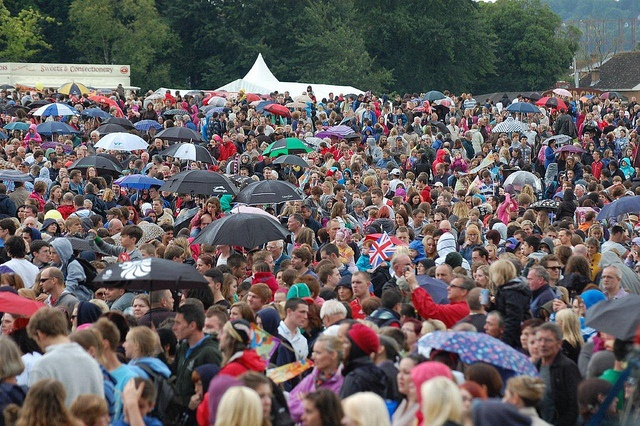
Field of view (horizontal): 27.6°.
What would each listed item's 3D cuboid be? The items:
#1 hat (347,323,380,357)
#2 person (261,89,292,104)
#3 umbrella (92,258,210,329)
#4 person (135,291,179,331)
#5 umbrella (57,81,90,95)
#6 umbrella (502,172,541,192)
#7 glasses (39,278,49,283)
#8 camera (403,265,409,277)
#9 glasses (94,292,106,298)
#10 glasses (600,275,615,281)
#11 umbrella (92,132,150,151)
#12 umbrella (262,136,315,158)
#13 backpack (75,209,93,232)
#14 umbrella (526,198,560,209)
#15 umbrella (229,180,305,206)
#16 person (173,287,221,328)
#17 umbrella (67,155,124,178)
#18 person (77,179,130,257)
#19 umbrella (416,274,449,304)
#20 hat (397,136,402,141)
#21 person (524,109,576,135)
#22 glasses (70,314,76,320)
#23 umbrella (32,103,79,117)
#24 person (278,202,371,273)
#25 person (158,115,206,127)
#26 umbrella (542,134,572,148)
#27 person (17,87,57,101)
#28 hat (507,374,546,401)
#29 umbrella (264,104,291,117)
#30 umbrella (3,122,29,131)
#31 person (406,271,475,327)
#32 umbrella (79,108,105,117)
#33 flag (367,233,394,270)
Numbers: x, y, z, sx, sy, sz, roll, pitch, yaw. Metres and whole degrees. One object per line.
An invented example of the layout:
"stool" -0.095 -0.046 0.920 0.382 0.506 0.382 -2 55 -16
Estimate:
"hat" 1.142 3.161 33.108 0.817 0.623 0.623 36 23 23
"person" -1.640 -4.729 53.999 0.980 0.453 0.955 1 1 -20
"umbrella" -4.433 2.306 34.200 2.193 1.308 2.208 -3 4 -33
"person" -4.437 2.552 34.787 1.169 0.838 0.904 -7 -5 29
"umbrella" -10.391 -5.153 54.929 1.303 0.470 1.611 -1 9 -11
"umbrella" 6.691 -0.972 43.083 1.065 0.708 1.552 4 10 20
"glasses" -7.427 1.817 35.077 0.241 0.134 0.060 5 10 26
"camera" 2.367 1.559 35.589 0.164 0.216 0.078 9 -5 21
"glasses" -6.037 2.246 35.638 0.198 0.239 0.192 0 -5 -20
"glasses" 7.780 1.769 35.250 0.179 0.150 0.409 -6 12 -38
"umbrella" -6.743 -2.339 43.895 0.951 0.358 0.958 4 11 32
"umbrella" -1.116 -2.196 44.663 1.623 0.693 1.056 1 9 0
"backpack" -6.988 0.264 38.430 0.604 0.738 0.416 -4 -5 -19
"umbrella" 7.155 -0.197 40.996 1.021 0.321 0.758 0 9 -8
"umbrella" -1.559 -0.587 39.396 1.927 0.687 0.729 0 9 -4
"person" -3.331 2.455 35.028 1.095 1.013 0.849 -1 -12 1
"umbrella" -7.274 -1.461 42.554 1.875 0.756 0.846 -6 12 -39
"person" -6.496 0.243 38.905 1.887 1.308 1.196 23 45 16
"umbrella" 3.080 2.110 35.433 0.740 0.329 0.718 12 42 -32
"hat" 2.898 -2.633 47.014 0.184 0.142 0.242 5 11 2
"person" 8.897 -3.428 50.371 1.044 1.017 0.852 -5 16 -34
"glasses" -6.541 2.764 34.465 0.170 0.052 0.159 10 -13 -19
"umbrella" -9.852 -3.738 48.453 1.630 0.528 0.972 -1 9 -13
"person" 0.120 0.798 38.118 3.127 0.989 1.338 12 19 15
"person" -4.990 -3.455 49.704 0.947 0.243 0.936 5 -1 12
"umbrella" 8.753 -2.605 47.451 0.608 0.301 0.592 -3 -17 0
"person" -11.616 -4.752 53.141 1.085 0.394 0.397 1 10 -11
"hat" 5.200 4.367 32.508 0.764 0.667 0.581 9 -8 17
"umbrella" -1.588 -3.902 50.608 0.898 0.515 1.112 5 10 22
"umbrella" -11.170 -3.116 47.919 1.102 0.358 0.693 8 11 36
"person" 3.106 2.235 35.023 1.789 0.987 1.308 31 31 31
"umbrella" -8.514 -3.700 49.275 1.030 0.350 0.846 -1 9 -10
"flag" 1.731 1.134 36.895 0.457 1.143 0.089 39 14 23
